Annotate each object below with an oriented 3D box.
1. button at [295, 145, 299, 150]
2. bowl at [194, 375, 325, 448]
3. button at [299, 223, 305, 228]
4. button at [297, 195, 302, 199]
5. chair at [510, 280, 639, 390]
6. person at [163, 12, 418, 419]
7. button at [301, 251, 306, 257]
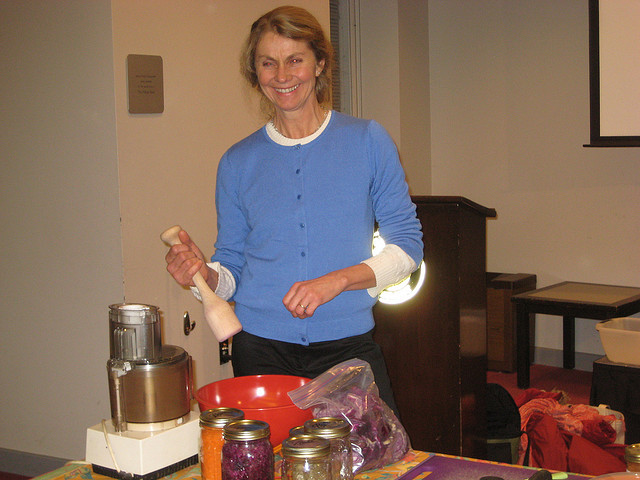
[{"bbox_3d":[-0.075,-0.307,2.015,0.014,0.015,0.005,-1,3,28],"label":"button"},{"bbox_3d":[-0.159,0.468,1.643,0.312,0.158,0.299,-3,2,0],"label":"bowl"},{"bbox_3d":[-0.056,-0.047,1.962,0.015,0.016,0.004,-2,1,22],"label":"button"},{"bbox_3d":[-0.066,-0.140,1.973,0.012,0.013,0.003,21,1,18],"label":"button"},{"bbox_3d":[2.046,0.595,4.822,0.850,0.899,0.876,-3,-4,40],"label":"chair"},{"bbox_3d":[-0.080,-0.077,1.961,0.772,1.289,0.492,-2,2,7],"label":"person"},{"bbox_3d":[-0.052,0.044,1.958,0.015,0.018,0.003,-1,3,29],"label":"button"}]
